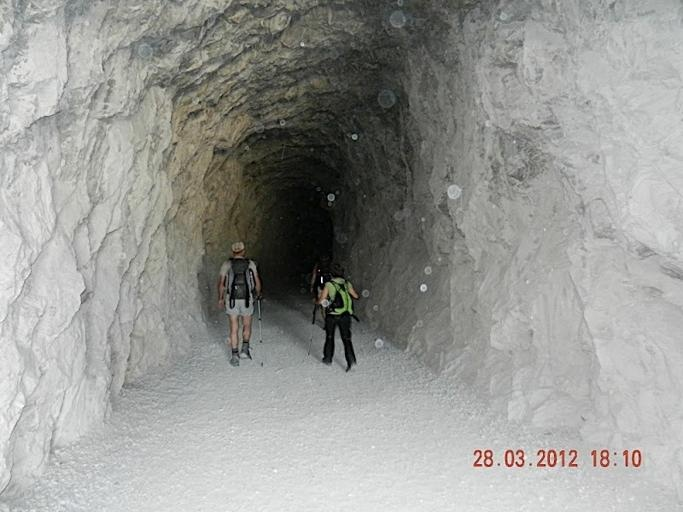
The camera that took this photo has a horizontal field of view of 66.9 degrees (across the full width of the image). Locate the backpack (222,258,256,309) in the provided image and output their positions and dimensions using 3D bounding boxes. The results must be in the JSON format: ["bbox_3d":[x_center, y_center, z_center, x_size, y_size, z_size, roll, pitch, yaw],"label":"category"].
[{"bbox_3d":[-1.520,0.406,7.753,0.439,0.739,0.328,0,8,-11],"label":"backpack"}]

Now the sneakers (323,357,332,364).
[{"bbox_3d":[-0.207,1.572,7.741,0.156,0.148,0.064,-3,-2,31],"label":"sneakers"}]

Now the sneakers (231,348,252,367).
[{"bbox_3d":[-1.533,1.514,7.787,0.140,0.182,0.416,0,2,1],"label":"sneakers"}]
